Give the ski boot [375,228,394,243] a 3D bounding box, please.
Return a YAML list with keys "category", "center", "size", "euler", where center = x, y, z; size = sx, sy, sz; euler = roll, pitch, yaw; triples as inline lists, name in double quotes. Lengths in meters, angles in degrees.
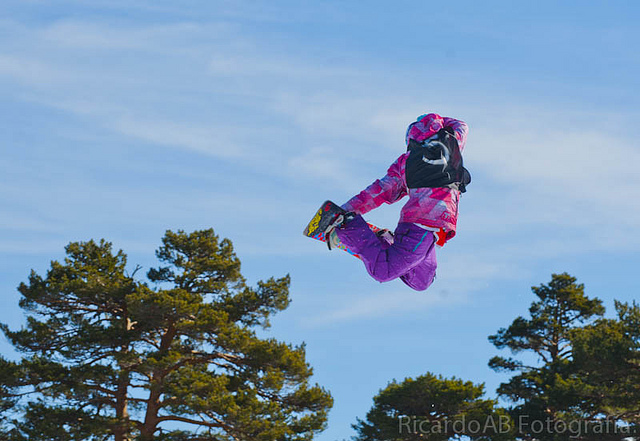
- category: "ski boot"
  center: [2.001, 0.528, 54.407]
  size: [0.385, 0.620, 0.171]
  euler: [-27, -20, -30]
